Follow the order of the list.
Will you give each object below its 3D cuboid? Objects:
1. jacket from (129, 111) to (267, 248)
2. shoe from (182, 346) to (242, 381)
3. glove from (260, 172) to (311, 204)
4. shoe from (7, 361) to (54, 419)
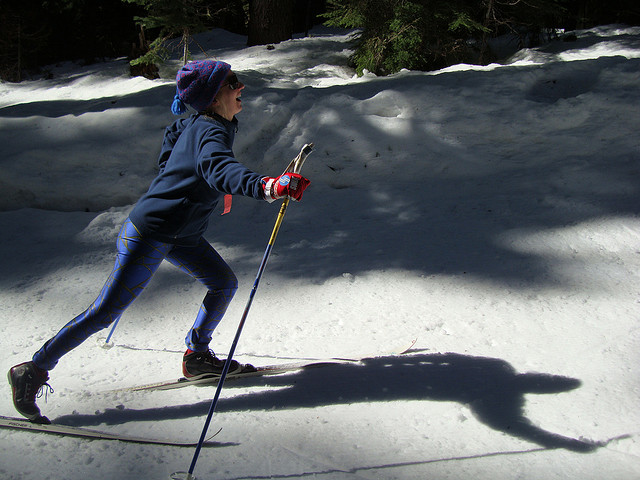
[{"bbox_3d":[-0.919,-0.458,4.337,1.180,1.029,1.074,-15,32,-35],"label":"jacket"},{"bbox_3d":[-0.867,1.045,4.851,0.700,0.224,0.209,-12,-6,26],"label":"shoe"},{"bbox_3d":[-0.263,-0.365,4.024,0.232,0.189,0.361,22,33,31],"label":"glove"},{"bbox_3d":[-2.190,1.097,4.351,0.489,0.431,0.191,-9,-4,4],"label":"shoe"}]
